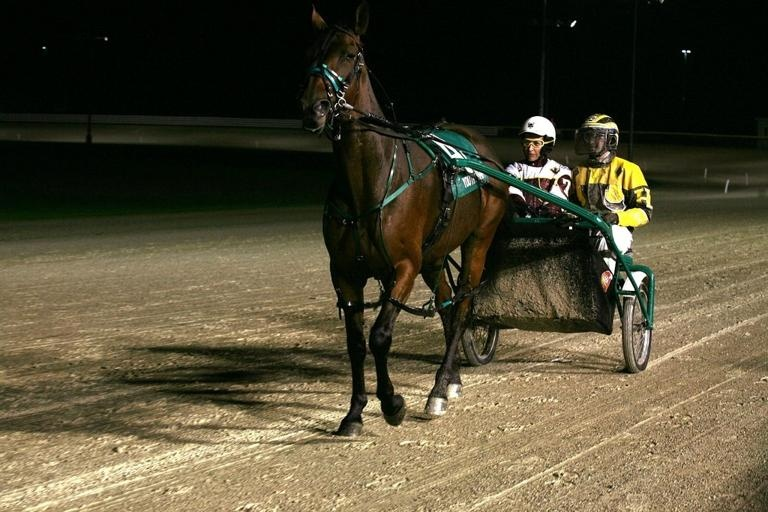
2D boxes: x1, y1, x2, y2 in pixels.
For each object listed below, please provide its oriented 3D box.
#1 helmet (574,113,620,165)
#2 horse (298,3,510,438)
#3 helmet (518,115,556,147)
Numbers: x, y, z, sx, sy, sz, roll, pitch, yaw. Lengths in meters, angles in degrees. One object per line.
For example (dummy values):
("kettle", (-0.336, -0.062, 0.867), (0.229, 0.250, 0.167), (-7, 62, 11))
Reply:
("helmet", (1.786, -1.000, 5.744), (0.396, 0.398, 0.313), (-8, 12, -37))
("horse", (0.145, -0.272, 4.629), (0.724, 2.625, 1.696), (7, 13, 31))
("helmet", (1.275, -1.047, 5.734), (0.213, 0.222, 0.297), (4, 18, 26))
